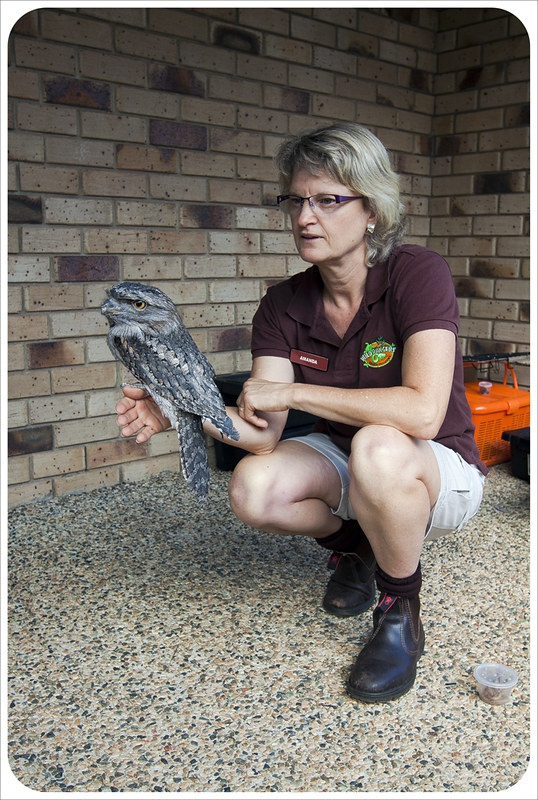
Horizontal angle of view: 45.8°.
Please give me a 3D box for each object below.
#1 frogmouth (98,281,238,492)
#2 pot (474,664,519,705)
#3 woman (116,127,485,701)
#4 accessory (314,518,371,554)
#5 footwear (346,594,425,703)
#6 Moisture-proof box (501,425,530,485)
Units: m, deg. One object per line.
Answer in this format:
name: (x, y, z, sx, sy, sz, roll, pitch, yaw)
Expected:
frogmouth: (-0.222, -0.024, 1.469, 0.305, 0.479, 0.217, -3, 11, -15)
pot: (0.525, 0.660, 1.482, 0.077, 0.041, 0.074, -1, 7, 0)
woman: (0.081, 0.011, 1.687, 0.979, 1.338, 0.673, -2, 5, -2)
accessory: (0.212, 0.387, 1.858, 0.094, 0.048, 0.128, -27, -4, 11)
footwear: (0.272, 0.578, 1.482, 0.113, 0.217, 0.200, 7, 12, 31)
Moisture-proof box: (1.271, 0.277, 3.194, 0.211, 0.242, 0.289, 0, 6, 27)
